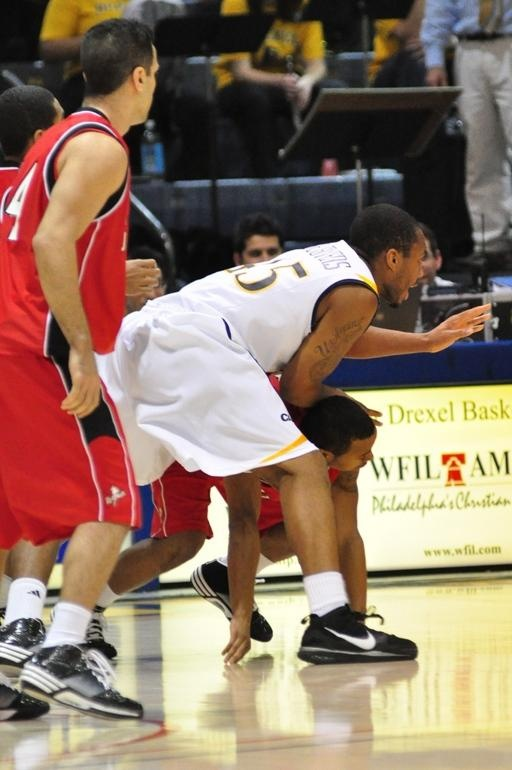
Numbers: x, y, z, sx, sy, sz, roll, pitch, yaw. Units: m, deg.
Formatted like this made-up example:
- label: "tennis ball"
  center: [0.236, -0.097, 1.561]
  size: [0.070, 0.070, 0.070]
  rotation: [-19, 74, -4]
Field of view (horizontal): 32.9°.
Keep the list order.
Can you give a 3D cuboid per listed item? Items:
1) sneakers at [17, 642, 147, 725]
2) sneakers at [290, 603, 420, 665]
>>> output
- label: "sneakers"
  center: [-0.318, 0.554, 1.600]
  size: [0.206, 0.151, 0.088]
  rotation: [1, -8, -37]
- label: "sneakers"
  center: [0.289, 0.593, 2.107]
  size: [0.380, 0.159, 0.119]
  rotation: [1, -5, -13]
